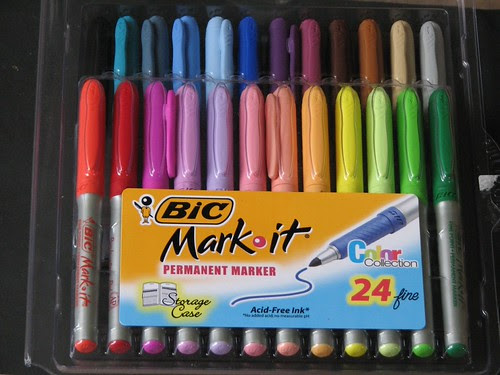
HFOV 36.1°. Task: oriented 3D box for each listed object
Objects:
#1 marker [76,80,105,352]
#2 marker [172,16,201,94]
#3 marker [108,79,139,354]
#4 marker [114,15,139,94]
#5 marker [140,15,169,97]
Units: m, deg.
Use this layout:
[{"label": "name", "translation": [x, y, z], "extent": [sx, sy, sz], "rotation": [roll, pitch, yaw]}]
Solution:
[{"label": "marker", "translation": [-0.277, 0.046, 1.278], "extent": [0.049, 0.063, 0.445], "rotation": [0, 82, -15]}, {"label": "marker", "translation": [-0.115, -0.247, 1.386], "extent": [0.047, 0.043, 0.162], "rotation": [-2, 85, 19]}, {"label": "marker", "translation": [-0.207, 0.051, 1.296], "extent": [0.045, 0.063, 0.449], "rotation": [-2, 79, 2]}, {"label": "marker", "translation": [-0.222, -0.241, 1.401], "extent": [0.038, 0.030, 0.146], "rotation": [10, 79, -16]}, {"label": "marker", "translation": [-0.175, -0.240, 1.389], "extent": [0.040, 0.035, 0.157], "rotation": [4, 90, -5]}]
